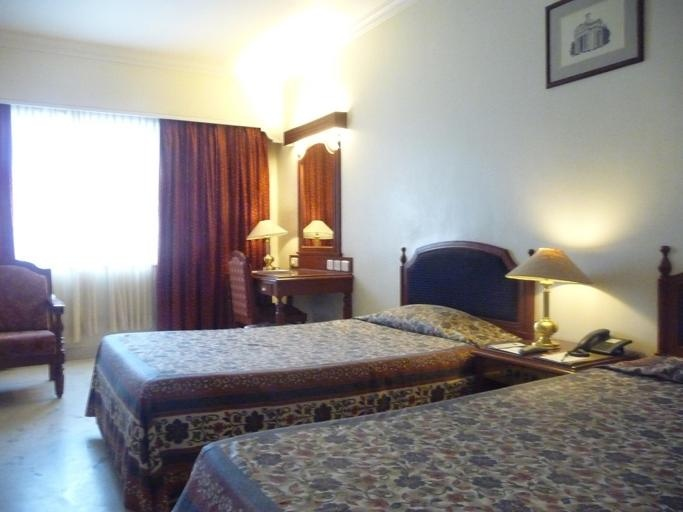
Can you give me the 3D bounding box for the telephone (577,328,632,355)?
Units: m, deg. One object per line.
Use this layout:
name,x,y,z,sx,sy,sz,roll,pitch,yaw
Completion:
telephone,1.479,0.497,2.956,0.187,0.071,0.203,-4,7,-24

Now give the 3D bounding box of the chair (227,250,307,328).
chair,-0.859,0.291,5.729,0.918,1.098,0.817,-3,3,-29

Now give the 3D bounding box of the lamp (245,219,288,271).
lamp,-0.859,-0.147,6.142,0.654,0.623,0.577,-1,4,0

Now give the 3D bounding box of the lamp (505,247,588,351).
lamp,1.181,0.231,3.274,0.634,0.634,0.593,3,2,27
